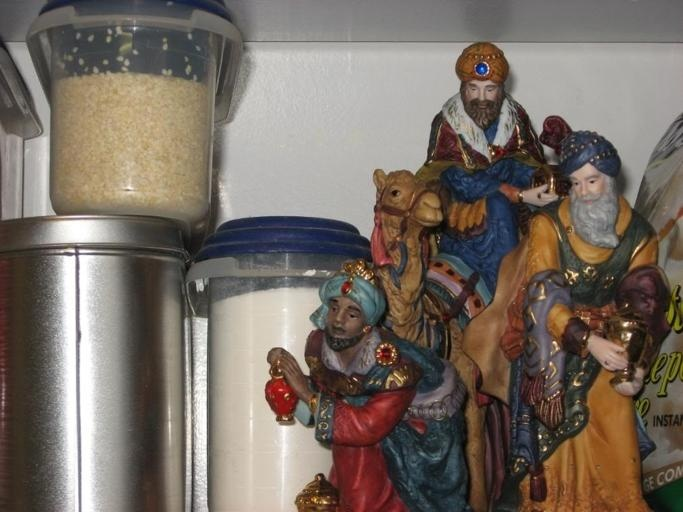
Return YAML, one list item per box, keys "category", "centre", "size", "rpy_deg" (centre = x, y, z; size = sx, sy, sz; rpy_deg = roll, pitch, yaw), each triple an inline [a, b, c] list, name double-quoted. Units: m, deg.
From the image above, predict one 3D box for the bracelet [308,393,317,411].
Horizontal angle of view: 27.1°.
- category: "bracelet"
  centre: [-0.065, 0.331, 3.199]
  size: [0.011, 0.030, 0.024]
  rpy_deg: [2, -3, -19]

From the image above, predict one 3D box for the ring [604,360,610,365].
- category: "ring"
  centre: [0.597, 0.241, 3.217]
  size: [0.010, 0.008, 0.003]
  rpy_deg: [12, 35, 23]
